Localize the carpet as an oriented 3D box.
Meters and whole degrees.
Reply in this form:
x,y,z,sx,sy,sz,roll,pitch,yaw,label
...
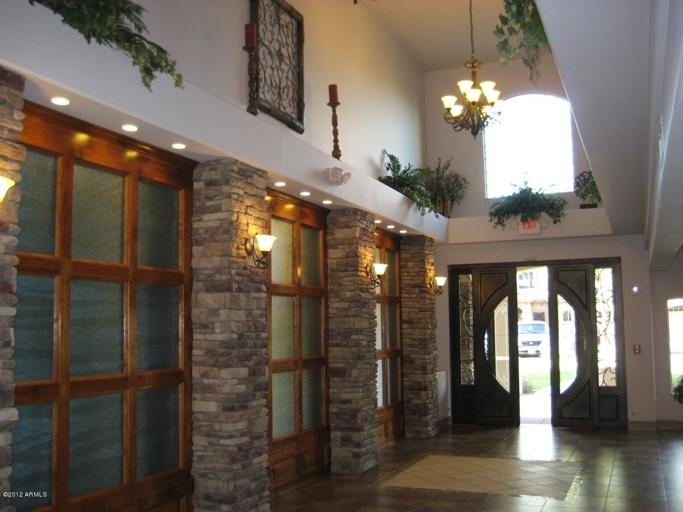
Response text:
x,y,z,sx,sy,sz,roll,pitch,yaw,label
2.169,3.219,8.133,2.593,0.029,2.037,-3,-7,17,carpet

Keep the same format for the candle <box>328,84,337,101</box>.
x,y,z,sx,sy,sz,roll,pitch,yaw,label
-0.136,-2.462,8.322,0.106,0.289,0.208,-1,-6,1,candle

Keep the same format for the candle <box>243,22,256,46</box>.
x,y,z,sx,sy,sz,roll,pitch,yaw,label
-1.136,-2.725,6.718,0.166,0.337,0.124,-2,-6,14,candle

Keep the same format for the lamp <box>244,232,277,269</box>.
x,y,z,sx,sy,sz,roll,pitch,yaw,label
-0.968,-0.075,6.368,0.342,0.409,0.256,0,-6,-11,lamp

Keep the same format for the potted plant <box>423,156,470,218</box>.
x,y,z,sx,sy,sz,roll,pitch,yaw,label
2.483,-1.660,13.064,1.054,1.485,0.547,4,-7,-36,potted plant

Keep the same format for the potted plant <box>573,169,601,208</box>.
x,y,z,sx,sy,sz,roll,pitch,yaw,label
5.248,-1.513,11.714,0.459,0.989,1.292,-3,-7,21,potted plant
